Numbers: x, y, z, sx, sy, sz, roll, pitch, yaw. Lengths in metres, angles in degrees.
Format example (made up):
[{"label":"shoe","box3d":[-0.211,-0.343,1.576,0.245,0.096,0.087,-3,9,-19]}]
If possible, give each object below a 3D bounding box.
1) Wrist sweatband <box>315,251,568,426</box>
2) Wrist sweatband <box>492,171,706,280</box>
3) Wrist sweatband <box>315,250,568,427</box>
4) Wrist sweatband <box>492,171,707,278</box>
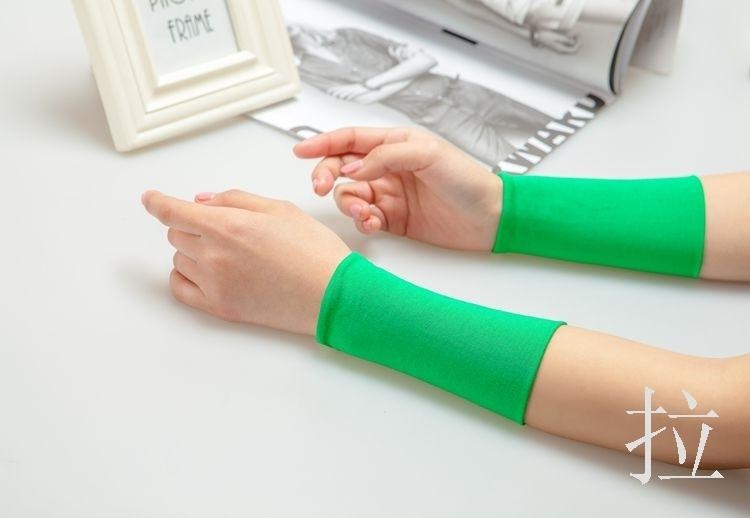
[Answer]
[{"label":"Wrist sweatband","box3d":[0.089,0.109,0.789,0.290,0.122,0.160,19,65,13]},{"label":"Wrist sweatband","box3d":[0.325,-0.051,0.865,0.273,0.093,0.148,4,69,10]},{"label":"Wrist sweatband","box3d":[0.089,0.112,0.787,0.290,0.121,0.160,20,66,13]},{"label":"Wrist sweatband","box3d":[0.325,-0.051,0.863,0.272,0.094,0.148,4,68,10]}]
